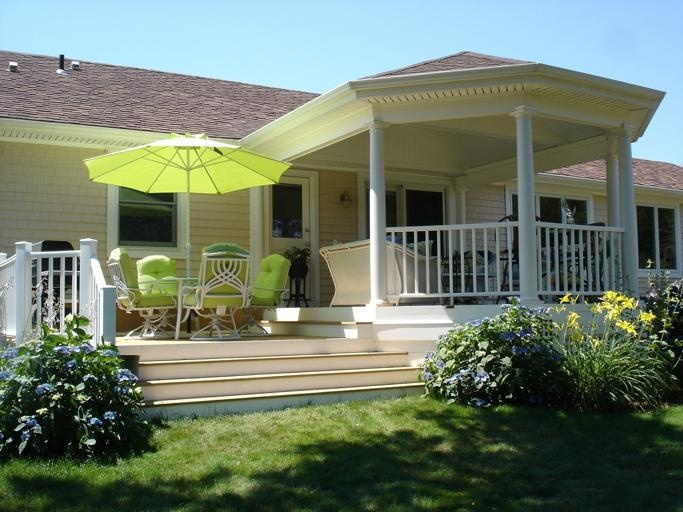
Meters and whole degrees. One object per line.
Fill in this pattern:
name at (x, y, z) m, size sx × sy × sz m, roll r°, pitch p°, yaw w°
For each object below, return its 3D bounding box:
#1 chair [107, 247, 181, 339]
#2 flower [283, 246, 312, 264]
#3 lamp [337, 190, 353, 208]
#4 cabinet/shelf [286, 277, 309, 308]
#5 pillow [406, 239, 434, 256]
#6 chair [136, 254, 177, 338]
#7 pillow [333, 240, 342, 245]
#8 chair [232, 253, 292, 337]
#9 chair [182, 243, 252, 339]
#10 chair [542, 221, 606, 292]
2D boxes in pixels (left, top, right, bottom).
chair at (-2.526, 0.479, 8.877) m, size 0.653 × 0.878 × 0.785 m, roll -2°, pitch 13°, yaw -10°
flower at (-0.803, -0.006, 11.530) m, size 0.358 × 0.199 × 0.344 m, roll 1°, pitch 0°, yaw -18°
lamp at (0.079, -1.074, 12.360) m, size 0.321 × 0.416 × 0.297 m, roll 2°, pitch -3°, yaw -30°
cabinet/shelf at (-0.797, 0.678, 11.640) m, size 0.519 × 0.626 × 0.500 m, roll 1°, pitch -4°, yaw 7°
pillow at (1.208, -0.125, 9.844) m, size 0.388 × 0.153 × 0.343 m, roll -1°, pitch -2°, yaw 9°
chair at (-2.662, 0.502, 9.206) m, size 0.647 × 0.867 × 0.671 m, roll -2°, pitch 8°, yaw -26°
pillow at (-0.081, -0.253, 11.727) m, size 0.101 × 0.088 × 0.140 m, roll 4°, pitch 0°, yaw 39°
chair at (-1.384, 0.583, 9.463) m, size 0.996 × 1.146 × 1.104 m, roll 3°, pitch 3°, yaw 40°
chair at (-1.694, 0.526, 8.710) m, size 1.017 × 1.172 × 0.947 m, roll -5°, pitch -7°, yaw 43°
chair at (3.362, 0.073, 9.247) m, size 1.215 × 0.696 × 1.142 m, roll 0°, pitch 1°, yaw 14°
